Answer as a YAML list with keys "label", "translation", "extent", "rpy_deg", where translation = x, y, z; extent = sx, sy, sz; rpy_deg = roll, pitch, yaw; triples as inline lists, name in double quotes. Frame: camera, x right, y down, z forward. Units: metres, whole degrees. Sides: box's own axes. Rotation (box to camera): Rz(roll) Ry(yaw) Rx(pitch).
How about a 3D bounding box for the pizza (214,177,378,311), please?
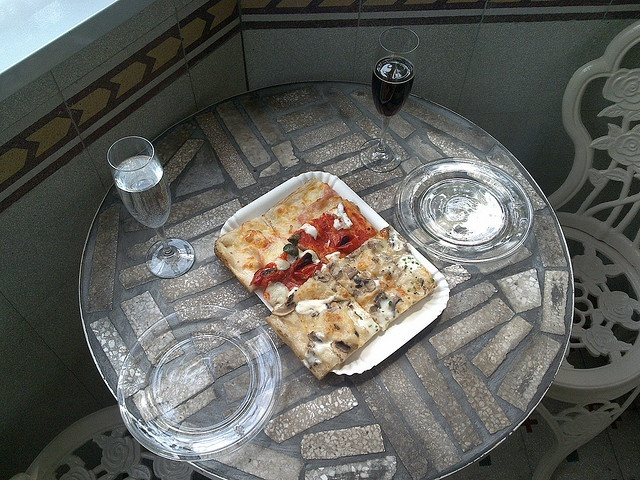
- label: "pizza"
  translation: [-0.101, 0.005, 1.584]
  extent: [0.376, 0.092, 0.375]
  rpy_deg: [-36, 68, -13]

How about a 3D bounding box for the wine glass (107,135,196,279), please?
- label: "wine glass"
  translation: [-0.456, -0.080, 1.346]
  extent: [0.144, 0.317, 0.272]
  rpy_deg: [-20, 61, -10]

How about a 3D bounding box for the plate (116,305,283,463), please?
- label: "plate"
  translation: [-0.296, 0.343, 1.244]
  extent: [0.387, 0.053, 0.378]
  rpy_deg: [26, 65, 15]

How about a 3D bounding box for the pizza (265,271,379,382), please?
- label: "pizza"
  translation: [0.007, 0.211, 1.279]
  extent: [0.209, 0.051, 0.219]
  rpy_deg: [-39, 67, -18]

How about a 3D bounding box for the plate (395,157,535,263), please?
- label: "plate"
  translation: [0.427, -0.094, 1.511]
  extent: [0.397, 0.434, 0.056]
  rpy_deg: [12, 44, 16]
